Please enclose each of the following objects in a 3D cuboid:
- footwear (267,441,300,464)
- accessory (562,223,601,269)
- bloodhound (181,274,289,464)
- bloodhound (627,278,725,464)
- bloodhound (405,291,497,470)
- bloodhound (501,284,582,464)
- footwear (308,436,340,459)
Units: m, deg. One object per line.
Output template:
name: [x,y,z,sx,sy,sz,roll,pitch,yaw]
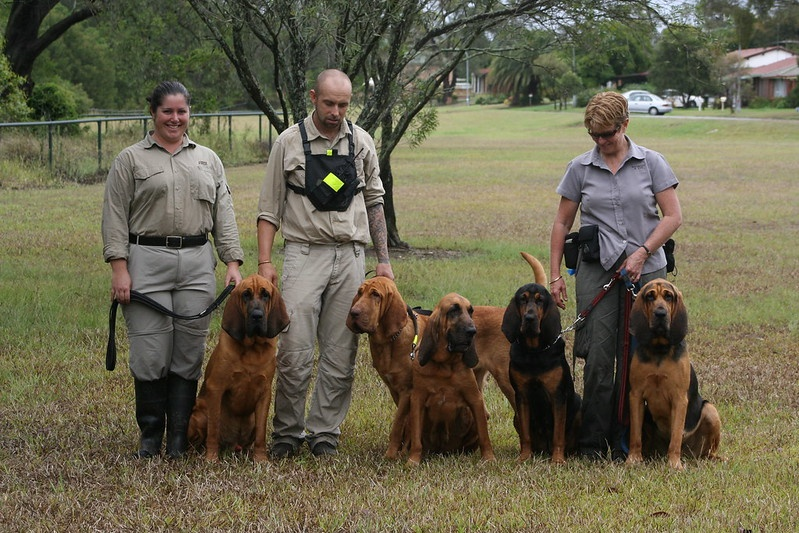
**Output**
footwear: [-1.308,2.069,10.806,0.272,0.190,0.110,7,-15,24]
accessory: [2.082,-0.240,10.967,0.401,0.477,0.445,2,4,19]
bloodhound: [-1.787,1.125,10.663,1.114,2.070,0.510,-1,7,-5]
bloodhound: [3.027,1.165,10.629,0.938,2.071,0.582,1,7,11]
bloodhound: [0.554,1.238,10.764,0.939,1.895,0.534,0,7,0]
bloodhound: [1.541,1.186,10.775,0.756,1.995,0.392,1,7,6]
footwear: [-0.845,2.019,10.839,0.333,0.213,0.285,-2,8,-14]
